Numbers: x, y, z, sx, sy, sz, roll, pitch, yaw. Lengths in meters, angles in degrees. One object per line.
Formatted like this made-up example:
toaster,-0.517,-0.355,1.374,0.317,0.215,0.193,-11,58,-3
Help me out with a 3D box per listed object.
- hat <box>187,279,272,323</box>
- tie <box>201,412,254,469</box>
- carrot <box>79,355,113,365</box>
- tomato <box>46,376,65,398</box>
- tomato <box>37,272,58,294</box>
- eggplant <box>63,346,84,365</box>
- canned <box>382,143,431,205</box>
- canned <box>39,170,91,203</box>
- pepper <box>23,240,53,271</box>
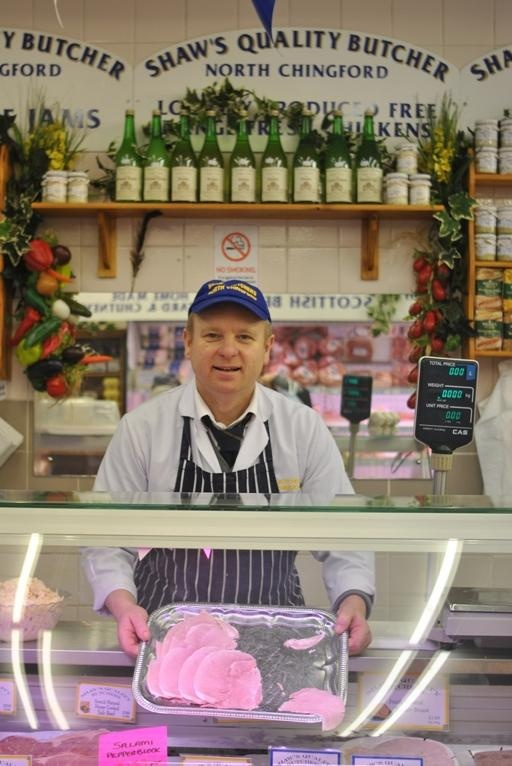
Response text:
hat,-0.050,-0.157,1.557,0.138,0.086,0.206,10,-5,-1
tie,-0.044,0.120,1.555,0.094,0.110,0.061,-1,-10,-5
carrot,-0.630,-0.091,2.992,0.126,0.033,0.035,-11,-16,-31
tomato,-0.767,0.016,2.931,0.073,0.088,0.035,0,6,-14
tomato,-0.797,-0.374,2.895,0.072,0.088,0.057,2,6,-2
eggplant,-0.703,-0.104,2.916,0.081,0.043,0.059,-13,15,-29
canned,0.570,-0.771,2.859,0.180,0.241,0.164,3,6,10
canned,-0.709,-0.729,2.849,0.151,0.092,0.142,-1,5,-15
pepper,-0.826,-0.481,2.889,0.066,0.121,0.145,7,8,38
